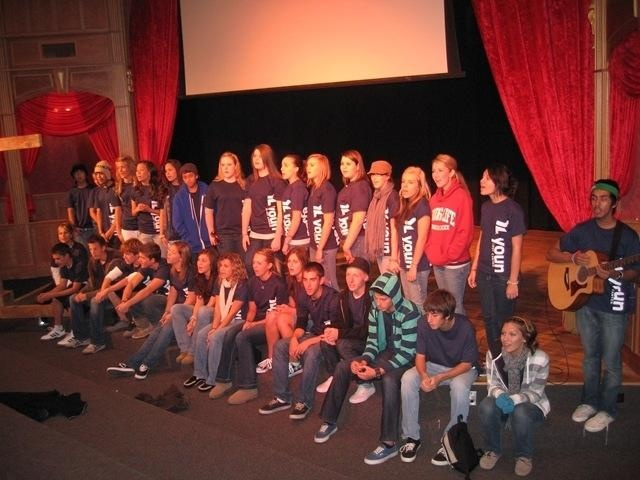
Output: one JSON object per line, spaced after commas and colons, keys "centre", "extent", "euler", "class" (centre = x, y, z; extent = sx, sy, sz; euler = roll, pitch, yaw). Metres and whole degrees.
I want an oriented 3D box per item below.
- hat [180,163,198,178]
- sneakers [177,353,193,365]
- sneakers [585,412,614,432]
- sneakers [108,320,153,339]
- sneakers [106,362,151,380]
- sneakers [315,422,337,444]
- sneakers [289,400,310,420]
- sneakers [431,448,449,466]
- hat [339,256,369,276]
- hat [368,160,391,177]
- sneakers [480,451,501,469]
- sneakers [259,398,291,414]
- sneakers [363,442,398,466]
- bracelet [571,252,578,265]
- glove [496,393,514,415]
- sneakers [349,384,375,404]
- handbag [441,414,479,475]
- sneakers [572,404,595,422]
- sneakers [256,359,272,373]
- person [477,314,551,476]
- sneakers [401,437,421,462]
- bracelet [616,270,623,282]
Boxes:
{"centre": [-1.516, -0.826, 5.896], "extent": [0.150, 0.167, 0.214], "euler": [1, 16, 12], "class": "hat"}
{"centre": [-1.335, 1.162, 5.030], "extent": [0.106, 0.057, 0.147], "euler": [4, -10, 6], "class": "sneakers"}
{"centre": [1.960, 1.263, 3.567], "extent": [0.233, 0.091, 0.097], "euler": [-10, 16, -29], "class": "sneakers"}
{"centre": [-2.067, 0.970, 5.565], "extent": [0.396, 0.172, 0.129], "euler": [8, 24, -3], "class": "sneakers"}
{"centre": [-1.835, 1.250, 4.912], "extent": [0.423, 0.167, 0.158], "euler": [17, -23, -9], "class": "sneakers"}
{"centre": [0.045, 1.410, 3.752], "extent": [0.082, 0.080, 0.206], "euler": [-1, -4, 33], "class": "sneakers"}
{"centre": [-0.165, 1.339, 3.998], "extent": [0.081, 0.078, 0.198], "euler": [-3, -12, 16], "class": "sneakers"}
{"centre": [0.799, 1.441, 3.420], "extent": [0.059, 0.065, 0.159], "euler": [0, 5, -18], "class": "sneakers"}
{"centre": [0.287, 0.203, 4.121], "extent": [0.188, 0.093, 0.139], "euler": [21, -13, -5], "class": "hat"}
{"centre": [0.591, -0.711, 4.804], "extent": [0.211, 0.110, 0.157], "euler": [3, -5, -44], "class": "hat"}
{"centre": [1.114, 1.427, 3.336], "extent": [0.067, 0.057, 0.145], "euler": [4, 7, 38], "class": "sneakers"}
{"centre": [-0.366, 1.346, 4.183], "extent": [0.268, 0.108, 0.107], "euler": [2, 0, -16], "class": "sneakers"}
{"centre": [0.429, 1.460, 3.530], "extent": [0.236, 0.093, 0.100], "euler": [-3, 6, -22], "class": "sneakers"}
{"centre": [1.909, 0.124, 3.789], "extent": [0.049, 0.067, 0.025], "euler": [-3, 1, 10], "class": "bracelet"}
{"centre": [1.231, 1.080, 3.351], "extent": [0.119, 0.157, 0.058], "euler": [-4, 9, -15], "class": "glove"}
{"centre": [0.344, 1.203, 4.062], "extent": [0.221, 0.094, 0.100], "euler": [-7, 10, -38], "class": "sneakers"}
{"centre": [0.924, 1.347, 3.307], "extent": [0.138, 0.295, 0.218], "euler": [-8, 10, -33], "class": "handbag"}
{"centre": [1.914, 1.241, 3.668], "extent": [0.208, 0.082, 0.077], "euler": [-3, 1, -41], "class": "sneakers"}
{"centre": [-0.508, 1.143, 4.655], "extent": [0.219, 0.088, 0.077], "euler": [4, 1, -42], "class": "sneakers"}
{"centre": [1.291, 0.999, 3.352], "extent": [0.412, 0.940, 0.397], "euler": [2, 10, 24], "class": "person"}
{"centre": [0.633, 1.424, 3.534], "extent": [0.138, 0.126, 0.204], "euler": [1, 9, 14], "class": "sneakers"}
{"centre": [2.114, 0.242, 3.554], "extent": [0.051, 0.079, 0.050], "euler": [7, 12, 44], "class": "bracelet"}
